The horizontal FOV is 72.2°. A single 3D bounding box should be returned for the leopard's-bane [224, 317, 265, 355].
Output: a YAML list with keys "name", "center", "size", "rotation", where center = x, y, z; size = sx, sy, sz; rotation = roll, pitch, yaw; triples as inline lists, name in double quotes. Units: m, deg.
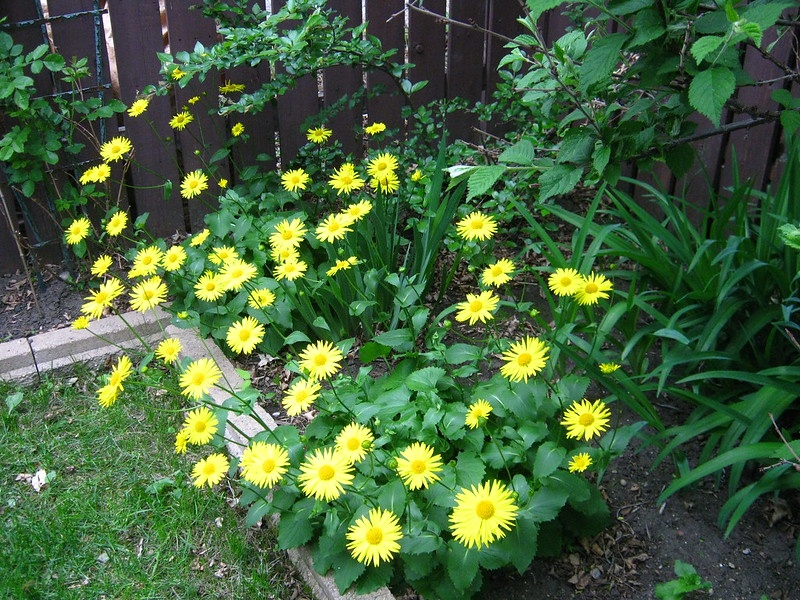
- name: "leopard's-bane"
  center: [-0.624, 0.146, 2.183]
  size: [0.127, 0.056, 0.126]
  rotation: [9, 34, -45]

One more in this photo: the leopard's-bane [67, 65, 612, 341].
- name: "leopard's-bane"
  center: [-0.308, -0.169, 3.166]
  size: [2.227, 0.937, 1.452]
  rotation: [-19, 53, -17]

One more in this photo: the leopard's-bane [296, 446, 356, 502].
- name: "leopard's-bane"
  center: [-0.231, 0.544, 1.717]
  size: [0.179, 0.054, 0.178]
  rotation: [6, 24, 11]

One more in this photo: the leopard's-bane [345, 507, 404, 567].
- name: "leopard's-bane"
  center: [-0.071, 0.702, 1.626]
  size: [0.162, 0.049, 0.177]
  rotation: [0, 30, 11]

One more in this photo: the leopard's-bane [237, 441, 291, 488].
- name: "leopard's-bane"
  center: [-0.438, 0.541, 1.823]
  size: [0.149, 0.169, 0.045]
  rotation: [-47, 42, -10]

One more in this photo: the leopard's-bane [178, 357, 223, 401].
- name: "leopard's-bane"
  center: [-0.730, 0.285, 1.987]
  size: [0.156, 0.044, 0.166]
  rotation: [7, 29, 2]

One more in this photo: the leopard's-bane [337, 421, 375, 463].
- name: "leopard's-bane"
  center: [-0.142, 0.460, 1.779]
  size: [0.118, 0.032, 0.131]
  rotation: [18, 47, 24]

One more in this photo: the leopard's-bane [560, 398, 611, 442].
- name: "leopard's-bane"
  center: [0.595, 0.375, 1.741]
  size: [0.150, 0.052, 0.151]
  rotation: [-10, 2, -41]

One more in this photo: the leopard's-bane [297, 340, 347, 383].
- name: "leopard's-bane"
  center: [-0.284, 0.219, 1.990]
  size: [0.172, 0.040, 0.189]
  rotation: [16, 37, 23]
